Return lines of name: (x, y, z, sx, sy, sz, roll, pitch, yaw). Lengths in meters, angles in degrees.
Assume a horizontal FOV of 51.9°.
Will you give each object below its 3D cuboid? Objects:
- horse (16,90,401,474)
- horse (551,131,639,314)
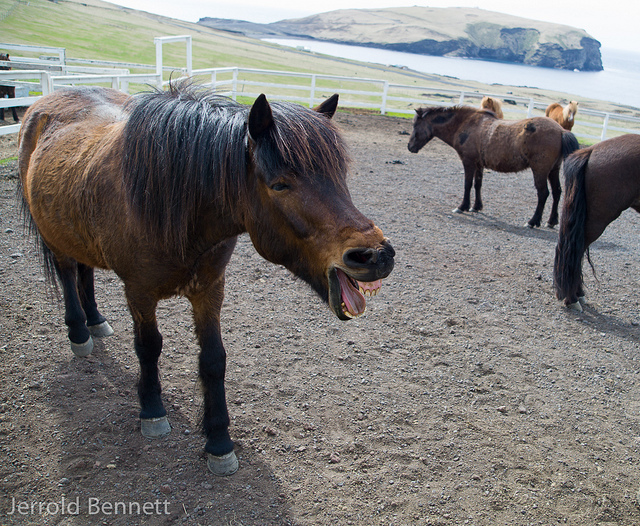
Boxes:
horse: (-1.459, 0.070, 5.924, 1.512, 3.051, 4.803, -16, 23, -43)
horse: (3.169, -0.494, 7.625, 0.636, 2.018, 0.819, -3, 27, -19)
